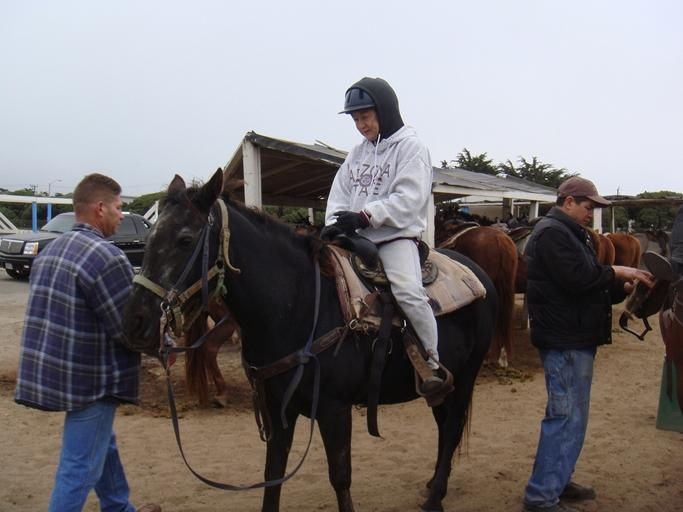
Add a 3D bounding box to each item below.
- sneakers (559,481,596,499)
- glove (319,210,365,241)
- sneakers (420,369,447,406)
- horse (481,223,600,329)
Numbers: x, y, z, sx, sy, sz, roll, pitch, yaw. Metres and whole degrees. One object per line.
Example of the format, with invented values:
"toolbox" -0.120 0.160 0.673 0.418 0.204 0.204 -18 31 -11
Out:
"sneakers" 1.905 1.904 4.986 0.295 0.143 0.117 -6 4 -5
"glove" 0.014 -0.245 4.365 0.249 0.124 0.199 -21 -9 -18
"sneakers" 0.659 0.918 4.344 0.157 0.299 0.282 -5 -11 13
"horse" 3.451 0.216 10.382 2.737 1.846 0.712 -2 25 -23
